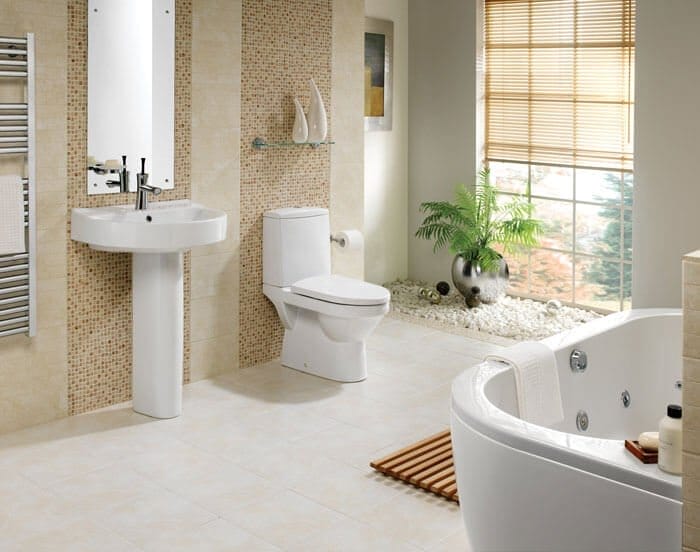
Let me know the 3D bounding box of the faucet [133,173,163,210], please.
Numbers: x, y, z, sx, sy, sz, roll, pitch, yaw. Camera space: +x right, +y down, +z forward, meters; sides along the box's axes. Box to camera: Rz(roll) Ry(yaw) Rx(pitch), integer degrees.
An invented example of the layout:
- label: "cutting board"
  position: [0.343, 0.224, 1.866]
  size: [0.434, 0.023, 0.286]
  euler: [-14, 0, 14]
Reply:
- label: "faucet"
  position: [-1.086, -0.440, 2.956]
  size: [0.194, 0.196, 0.064]
  euler: [17, 18, 41]

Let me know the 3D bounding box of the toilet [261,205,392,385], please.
- label: "toilet"
  position: [-0.164, 0.126, 3.555]
  size: [0.408, 1.052, 0.887]
  euler: [-11, 17, -42]

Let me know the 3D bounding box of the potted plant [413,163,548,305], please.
- label: "potted plant"
  position: [1.251, -0.258, 5.027]
  size: [0.960, 1.038, 1.036]
  euler: [-1, 8, 31]

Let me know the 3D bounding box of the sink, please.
- label: "sink"
  position: [-1.050, -0.258, 2.991]
  size: [0.699, 0.203, 0.639]
  euler: [-6, 18, -30]

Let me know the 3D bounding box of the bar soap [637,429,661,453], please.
- label: "bar soap"
  position: [0.797, 0.436, 1.477]
  size: [0.049, 0.024, 0.050]
  euler: [-3, 6, -16]

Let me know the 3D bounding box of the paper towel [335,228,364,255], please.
- label: "paper towel"
  position: [-0.002, -0.246, 3.933]
  size: [0.180, 0.163, 0.149]
  euler: [-8, 28, -46]

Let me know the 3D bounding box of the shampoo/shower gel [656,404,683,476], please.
- label: "shampoo/shower gel"
  position: [0.808, 0.400, 1.391]
  size: [0.046, 0.172, 0.088]
  euler: [3, 13, 13]

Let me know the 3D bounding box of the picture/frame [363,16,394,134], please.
- label: "picture/frame"
  position: [0.274, -1.870, 5.192]
  size: [0.106, 1.004, 0.435]
  euler: [9, 15, 34]
